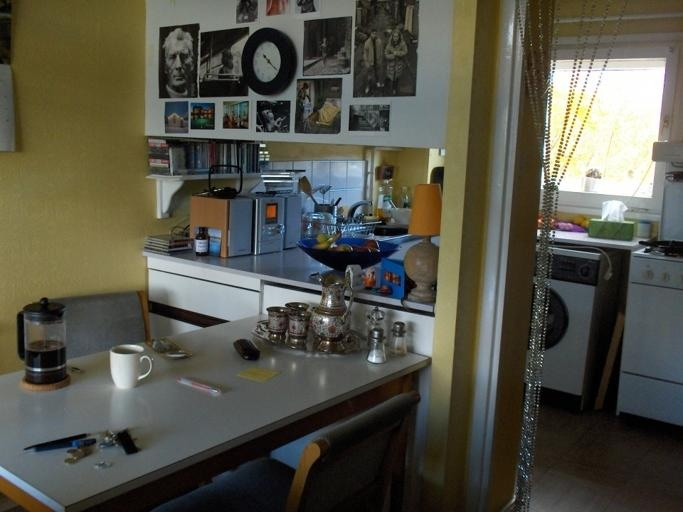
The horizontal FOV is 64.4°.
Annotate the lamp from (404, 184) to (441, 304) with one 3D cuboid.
[{"bbox_3d":[0.352,-0.056,2.377,0.148,0.502,0.178,4,14,8],"label":"lamp"}]

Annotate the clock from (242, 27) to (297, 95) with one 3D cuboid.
[{"bbox_3d":[-0.354,-1.000,2.765,0.329,0.348,0.045,9,13,36],"label":"clock"}]

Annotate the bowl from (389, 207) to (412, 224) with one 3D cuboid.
[{"bbox_3d":[0.551,-0.365,5.087,0.225,0.154,0.233,0,11,0],"label":"bowl"}]

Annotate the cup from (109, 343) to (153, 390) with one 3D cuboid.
[{"bbox_3d":[-0.718,0.396,1.969,0.180,0.142,0.120,6,6,3],"label":"cup"}]

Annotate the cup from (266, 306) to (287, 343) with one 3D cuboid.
[{"bbox_3d":[-0.276,0.294,2.354,0.122,0.157,0.122,2,7,0],"label":"cup"}]

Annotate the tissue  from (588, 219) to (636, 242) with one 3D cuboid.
[{"bbox_3d":[2.047,-0.194,4.126,0.299,0.151,0.164,9,16,32],"label":"tissue "}]

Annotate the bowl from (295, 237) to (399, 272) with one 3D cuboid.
[{"bbox_3d":[0.032,-0.016,2.885,0.521,0.147,0.474,3,14,-1],"label":"bowl"}]

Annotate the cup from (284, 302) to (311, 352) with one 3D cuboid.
[{"bbox_3d":[-0.183,0.304,2.323,0.144,0.189,0.148,4,4,0],"label":"cup"}]
